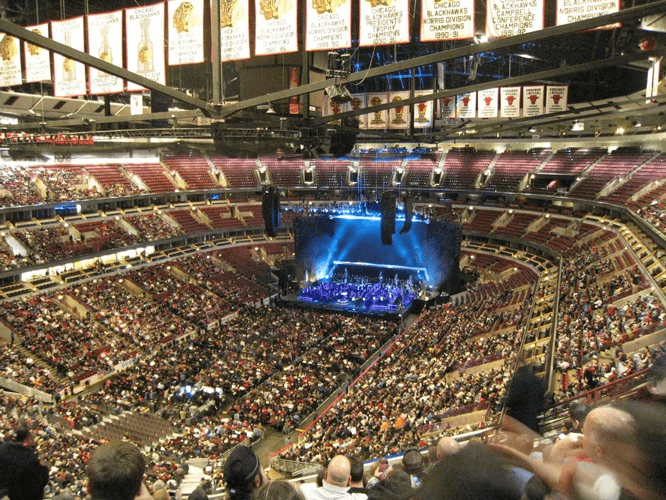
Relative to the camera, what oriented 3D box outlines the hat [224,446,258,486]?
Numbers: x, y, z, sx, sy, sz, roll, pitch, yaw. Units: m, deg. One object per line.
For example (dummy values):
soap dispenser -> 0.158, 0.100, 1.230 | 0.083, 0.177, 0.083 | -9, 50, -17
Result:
hat -> -0.956, 2.168, 5.280 | 0.392, 0.222, 0.463 | -8, 29, -14
